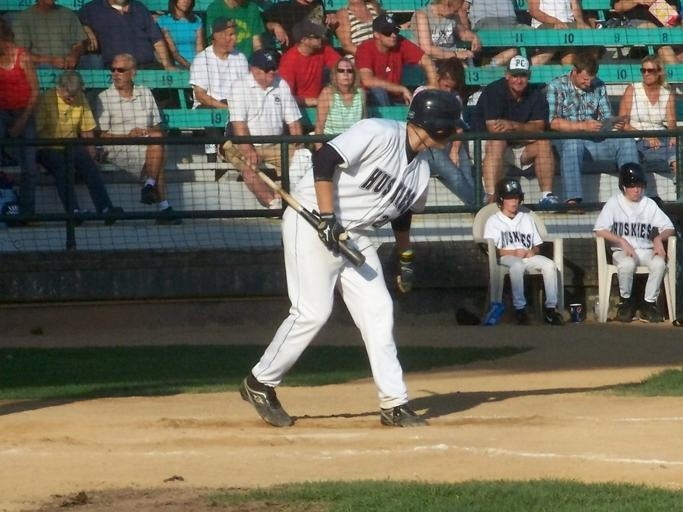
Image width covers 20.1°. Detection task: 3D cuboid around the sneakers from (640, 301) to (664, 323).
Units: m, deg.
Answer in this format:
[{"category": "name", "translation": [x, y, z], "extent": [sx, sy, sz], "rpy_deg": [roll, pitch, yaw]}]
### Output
[{"category": "sneakers", "translation": [3.513, 0.668, 22.193], "extent": [0.166, 0.191, 0.298], "rpy_deg": [0, 0, -27]}]

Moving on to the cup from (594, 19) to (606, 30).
[{"category": "cup", "translation": [3.326, -3.033, 25.048], "extent": [0.137, 0.128, 0.139], "rpy_deg": [-1, 15, 0]}]

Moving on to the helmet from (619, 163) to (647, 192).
[{"category": "helmet", "translation": [3.325, -0.936, 22.368], "extent": [0.252, 0.264, 0.324], "rpy_deg": [-6, -2, -16]}]

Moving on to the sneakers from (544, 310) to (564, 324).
[{"category": "sneakers", "translation": [2.390, 0.699, 22.029], "extent": [0.221, 0.185, 0.171], "rpy_deg": [0, 5, 10]}]

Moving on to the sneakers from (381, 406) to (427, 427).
[{"category": "sneakers", "translation": [0.545, 1.553, 18.537], "extent": [0.347, 0.146, 0.209], "rpy_deg": [0, 8, 17]}]

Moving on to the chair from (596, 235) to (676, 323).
[{"category": "chair", "translation": [3.502, 0.321, 22.602], "extent": [1.004, 1.258, 0.947], "rpy_deg": [0, -8, 3]}]

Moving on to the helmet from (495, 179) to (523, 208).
[{"category": "helmet", "translation": [1.888, -0.725, 22.185], "extent": [0.248, 0.286, 0.330], "rpy_deg": [-3, 13, -14]}]

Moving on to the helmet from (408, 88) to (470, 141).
[{"category": "helmet", "translation": [0.897, -1.410, 18.614], "extent": [0.589, 0.437, 0.422], "rpy_deg": [11, 22, 5]}]

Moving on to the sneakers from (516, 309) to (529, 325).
[{"category": "sneakers", "translation": [2.038, 0.698, 22.028], "extent": [0.157, 0.181, 0.238], "rpy_deg": [-1, 5, 4]}]

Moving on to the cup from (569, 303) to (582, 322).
[{"category": "cup", "translation": [2.678, 0.678, 22.330], "extent": [0.185, 0.203, 0.187], "rpy_deg": [-1, -4, 0]}]

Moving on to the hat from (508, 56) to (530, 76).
[{"category": "hat", "translation": [2.084, -2.291, 23.068], "extent": [0.259, 0.221, 0.174], "rpy_deg": [-1, 5, 1]}]

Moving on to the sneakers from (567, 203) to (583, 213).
[{"category": "sneakers", "translation": [2.703, -0.555, 22.620], "extent": [0.162, 0.129, 0.373], "rpy_deg": [-1, 5, 7]}]

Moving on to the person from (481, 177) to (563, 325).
[{"category": "person", "translation": [2.043, -0.050, 22.165], "extent": [0.861, 1.669, 0.618], "rpy_deg": [-1, 5, 4]}]

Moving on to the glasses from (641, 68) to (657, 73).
[{"category": "glasses", "translation": [3.746, -2.301, 23.794], "extent": [0.081, 0.069, 0.189], "rpy_deg": [-6, 6, -43]}]
